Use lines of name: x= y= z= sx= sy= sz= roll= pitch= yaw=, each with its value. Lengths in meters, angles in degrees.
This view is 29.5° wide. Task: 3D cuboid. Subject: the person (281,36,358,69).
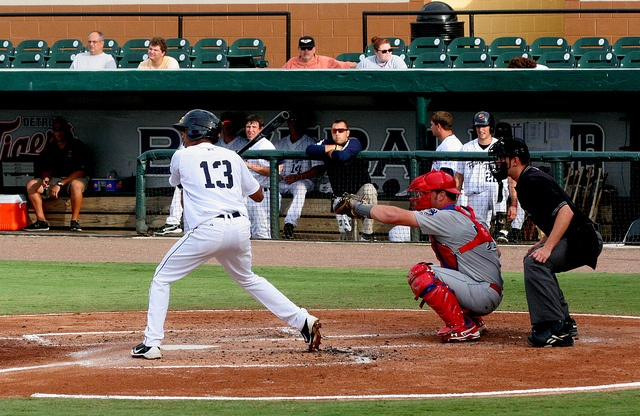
person: x=-0.043 y=-2.749 z=21.655 sx=1.211 sy=0.656 sz=0.948 roll=0 pitch=1 yaw=-1

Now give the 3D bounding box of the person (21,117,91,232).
person: x=-4.715 y=-0.603 z=21.737 sx=1.112 sy=2.021 sz=0.830 roll=0 pitch=2 yaw=-7

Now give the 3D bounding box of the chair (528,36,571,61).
chair: x=4.443 y=-2.991 z=23.691 sx=0.839 sy=0.846 sz=0.713 roll=0 pitch=10 yaw=10

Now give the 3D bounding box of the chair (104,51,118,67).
chair: x=-3.814 y=-2.662 z=22.136 sx=0.200 sy=0.269 sz=0.339 roll=-1 pitch=1 yaw=-11

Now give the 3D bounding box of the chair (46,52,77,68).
chair: x=-4.939 y=-2.802 z=23.204 sx=0.482 sy=0.473 sz=0.414 roll=1 pitch=8 yaw=-2

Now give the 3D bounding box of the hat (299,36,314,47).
hat: x=-0.242 y=-2.963 z=21.800 sx=0.282 sy=0.162 sz=0.339 roll=1 pitch=3 yaw=4

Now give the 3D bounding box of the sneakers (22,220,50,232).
sneakers: x=-5.017 y=0.325 z=21.593 sx=0.497 sy=0.170 sz=0.161 roll=1 pitch=2 yaw=-15

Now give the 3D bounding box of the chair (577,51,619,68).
chair: x=5.100 y=-2.725 z=22.308 sx=0.703 sy=0.426 sz=0.623 roll=0 pitch=-7 yaw=8

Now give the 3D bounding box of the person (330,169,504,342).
person: x=1.479 y=0.629 z=15.729 sx=1.757 sy=2.203 sz=0.488 roll=0 pitch=2 yaw=-1

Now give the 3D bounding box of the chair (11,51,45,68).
chair: x=-5.536 y=-2.791 z=23.188 sx=0.501 sy=0.436 sz=0.400 roll=0 pitch=-2 yaw=5

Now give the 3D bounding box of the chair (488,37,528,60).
chair: x=3.615 y=-3.186 z=23.703 sx=0.760 sy=0.655 sz=0.579 roll=1 pitch=5 yaw=8

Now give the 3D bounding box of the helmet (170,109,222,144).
helmet: x=-1.536 y=-1.015 z=15.719 sx=0.741 sy=0.363 sz=0.482 roll=1 pitch=-4 yaw=12

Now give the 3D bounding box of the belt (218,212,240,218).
belt: x=-1.149 y=0.090 z=15.340 sx=0.291 sy=0.078 sz=0.051 roll=0 pitch=2 yaw=-11

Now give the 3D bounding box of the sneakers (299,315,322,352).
sneakers: x=-0.067 y=1.591 z=15.602 sx=0.212 sy=0.476 sz=0.282 roll=-25 pitch=27 yaw=-37

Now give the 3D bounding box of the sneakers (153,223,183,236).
sneakers: x=-2.581 y=0.384 z=20.870 sx=0.545 sy=0.189 sz=0.178 roll=1 pitch=0 yaw=-15

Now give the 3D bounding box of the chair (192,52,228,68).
chair: x=-2.041 y=-2.737 z=22.741 sx=0.474 sy=0.472 sz=0.447 roll=-1 pitch=3 yaw=8

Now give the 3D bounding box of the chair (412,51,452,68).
chair: x=2.079 y=-2.712 z=22.460 sx=0.677 sy=0.252 sz=0.227 roll=1 pitch=16 yaw=10

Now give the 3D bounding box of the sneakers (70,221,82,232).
sneakers: x=-4.321 y=0.312 z=21.576 sx=0.196 sy=0.200 sz=0.322 roll=0 pitch=1 yaw=-10

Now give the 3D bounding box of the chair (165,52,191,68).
chair: x=-2.683 y=-2.818 z=23.147 sx=0.452 sy=0.453 sz=0.427 roll=0 pitch=5 yaw=5

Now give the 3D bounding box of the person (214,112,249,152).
person: x=-1.517 y=-1.253 z=21.005 sx=0.861 sy=0.667 sz=0.419 roll=-3 pitch=-12 yaw=32

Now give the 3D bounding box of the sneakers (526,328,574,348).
sneakers: x=2.943 y=1.678 z=15.621 sx=0.585 sy=0.200 sz=0.219 roll=1 pitch=2 yaw=0

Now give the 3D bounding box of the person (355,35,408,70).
person: x=1.135 y=-2.728 z=21.607 sx=0.804 sy=0.859 sz=0.689 roll=0 pitch=15 yaw=6

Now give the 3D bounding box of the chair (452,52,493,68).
chair: x=2.789 y=-2.704 z=22.300 sx=0.649 sy=0.264 sz=0.258 roll=0 pitch=1 yaw=4

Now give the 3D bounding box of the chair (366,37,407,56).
chair: x=1.338 y=-3.159 z=23.894 sx=0.944 sy=0.460 sz=0.563 roll=0 pitch=-1 yaw=4

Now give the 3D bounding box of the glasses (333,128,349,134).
glasses: x=0.346 y=-1.278 z=20.183 sx=0.268 sy=0.071 sz=0.162 roll=0 pitch=1 yaw=-11

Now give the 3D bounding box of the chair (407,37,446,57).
chair: x=2.045 y=-3.117 z=23.639 sx=0.676 sy=0.317 sz=0.481 roll=1 pitch=29 yaw=2

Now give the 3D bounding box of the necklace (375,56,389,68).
necklace: x=1.103 y=-2.560 z=21.455 sx=0.231 sy=0.196 sz=0.082 roll=0 pitch=6 yaw=5

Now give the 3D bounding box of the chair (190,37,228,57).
chair: x=-2.221 y=-3.270 z=24.538 sx=0.661 sy=0.662 sz=0.603 roll=0 pitch=0 yaw=0

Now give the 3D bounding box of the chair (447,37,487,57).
chair: x=2.846 y=-3.042 z=23.743 sx=0.682 sy=0.639 sz=0.535 roll=0 pitch=14 yaw=7

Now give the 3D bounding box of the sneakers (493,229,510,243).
sneakers: x=3.054 y=0.469 z=20.510 sx=0.275 sy=0.200 sz=0.184 roll=1 pitch=0 yaw=5

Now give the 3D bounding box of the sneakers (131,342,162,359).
sneakers: x=-2.175 y=1.804 z=15.353 sx=0.401 sy=0.143 sz=0.164 roll=4 pitch=1 yaw=14

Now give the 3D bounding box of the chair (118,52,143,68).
chair: x=-3.542 y=-2.748 z=22.803 sx=0.422 sy=0.438 sz=0.363 roll=0 pitch=11 yaw=-5

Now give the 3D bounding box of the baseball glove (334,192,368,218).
baseball glove: x=0.436 y=-0.043 z=15.711 sx=0.420 sy=0.148 sz=0.306 roll=6 pitch=2 yaw=-24

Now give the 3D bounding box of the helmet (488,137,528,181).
helmet: x=2.469 y=-0.685 z=15.907 sx=0.609 sy=0.452 sz=0.450 roll=-7 pitch=13 yaw=5

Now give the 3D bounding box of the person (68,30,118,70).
person: x=-4.078 y=-2.849 z=22.266 sx=1.093 sy=0.719 sz=0.506 roll=10 pitch=12 yaw=28
